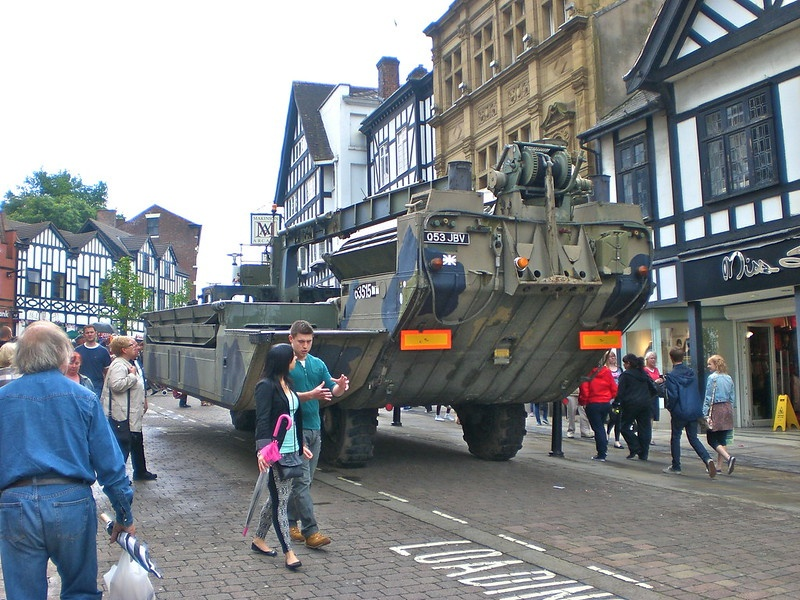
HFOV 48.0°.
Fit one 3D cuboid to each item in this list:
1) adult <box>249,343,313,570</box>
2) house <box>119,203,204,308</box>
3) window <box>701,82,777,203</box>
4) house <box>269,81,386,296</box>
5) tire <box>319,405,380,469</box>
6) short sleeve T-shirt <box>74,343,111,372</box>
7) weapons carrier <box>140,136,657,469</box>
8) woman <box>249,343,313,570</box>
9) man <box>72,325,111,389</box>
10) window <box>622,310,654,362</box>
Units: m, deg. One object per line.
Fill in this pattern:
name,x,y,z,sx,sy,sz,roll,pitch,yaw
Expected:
adult,-1.229,1.599,9.357,0.556,2.276,0.621,1,-3,-8
house,-21.505,-6.026,77.904,7.434,10.224,7.870,0,36,-18
window,7.092,-3.277,18.543,0.249,2.782,2.282,3,-9,-26
house,-2.683,-5.605,49.321,7.314,11.391,9.702,1,-6,-15
tire,-0.783,2.038,13.572,0.420,1.206,1.118,4,-5,-33
short sleeve T-shirt,-4.566,0.860,13.348,0.417,0.462,0.245,2,-7,-16
weapons carrier,-0.262,0.186,15.348,4.434,4.142,7.902,4,-6,-29
woman,-1.222,1.597,9.331,0.560,2.276,0.567,1,-3,-6
man,-4.711,1.243,13.706,0.513,1.617,0.468,1,0,-7
window,5.773,0.651,22.071,0.728,1.371,1.321,-6,28,8
